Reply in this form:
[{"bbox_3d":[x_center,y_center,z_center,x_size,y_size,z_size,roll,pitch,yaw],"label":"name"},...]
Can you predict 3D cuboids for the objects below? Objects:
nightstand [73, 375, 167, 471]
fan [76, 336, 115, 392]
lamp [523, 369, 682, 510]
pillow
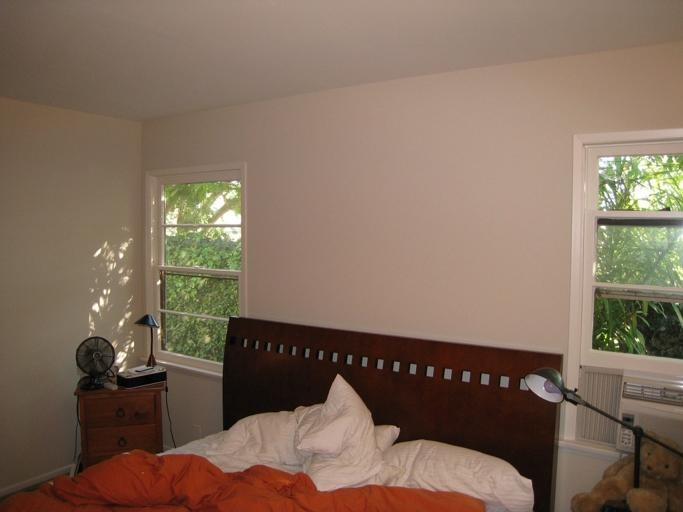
[{"bbox_3d":[-1.861,1.391,4.446,0.662,0.707,0.503,1,12,-8],"label":"nightstand"},{"bbox_3d":[-2.097,0.905,4.398,0.303,0.435,0.248,6,-11,-30],"label":"fan"},{"bbox_3d":[1.470,0.994,3.062,0.868,0.700,0.634,1,0,5],"label":"lamp"},{"bbox_3d":[0.138,1.158,3.302,2.021,0.790,0.590,2,0,26],"label":"pillow"}]
